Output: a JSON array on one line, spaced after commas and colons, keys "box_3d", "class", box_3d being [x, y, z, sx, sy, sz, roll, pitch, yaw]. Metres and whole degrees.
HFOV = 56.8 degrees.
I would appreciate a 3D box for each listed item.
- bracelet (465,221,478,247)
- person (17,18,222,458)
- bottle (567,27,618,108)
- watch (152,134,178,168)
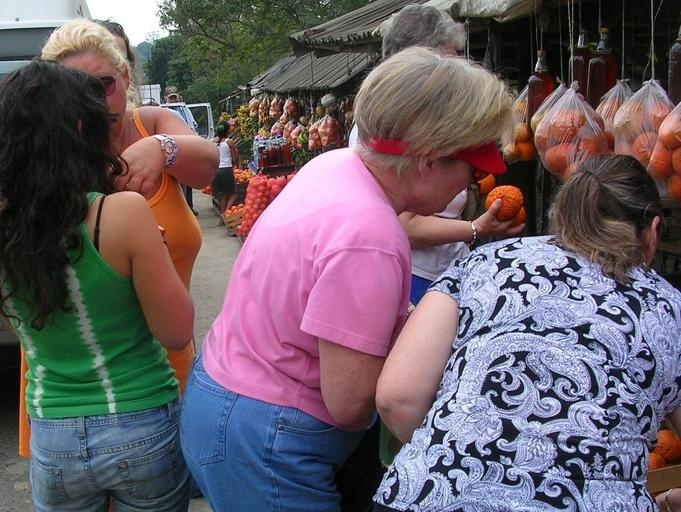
[{"box_3d": [0.609, -0.102, 2.887, 0.045, 0.129, 0.093, 2, 1, 16], "class": "bracelet"}, {"box_3d": [-0.883, -0.167, 2.853, 0.597, 1.755, 0.534, -4, 39, -9], "class": "person"}, {"box_3d": [1.184, -0.874, 2.906, 0.183, 0.371, 0.330, 2, 10, 1], "class": "bottle"}, {"box_3d": [-0.667, -0.428, 2.455, 0.056, 0.102, 0.093, -8, 13, -15], "class": "watch"}]
